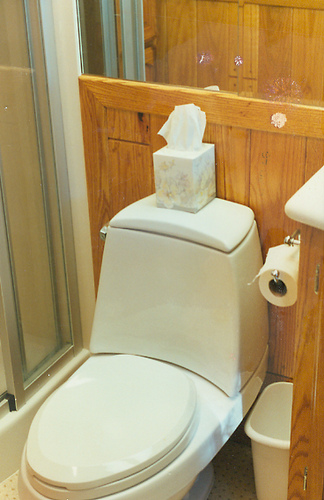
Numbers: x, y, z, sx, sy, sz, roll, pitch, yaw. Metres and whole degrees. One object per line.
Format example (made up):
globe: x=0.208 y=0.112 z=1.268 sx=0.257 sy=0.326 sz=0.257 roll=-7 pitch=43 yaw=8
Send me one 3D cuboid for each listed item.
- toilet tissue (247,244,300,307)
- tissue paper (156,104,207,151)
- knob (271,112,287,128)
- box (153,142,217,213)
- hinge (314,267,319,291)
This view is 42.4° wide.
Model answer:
toilet tissue: x=0.206 y=0.048 z=0.785 sx=0.085 sy=0.081 sz=0.104 roll=-20 pitch=19 yaw=30
tissue paper: x=0.044 y=-0.272 z=0.924 sx=0.107 sy=0.095 sz=0.057 roll=-1 pitch=22 yaw=7
knob: x=0.234 y=-0.263 z=0.841 sx=0.023 sy=0.029 sz=0.008 roll=4 pitch=5 yaw=31
box: x=0.053 y=-0.169 z=0.960 sx=0.135 sy=0.123 sz=0.134 roll=-24 pitch=35 yaw=-31
hinge: x=0.144 y=0.027 z=0.392 sx=0.004 sy=0.026 sz=0.005 roll=7 pitch=23 yaw=24
